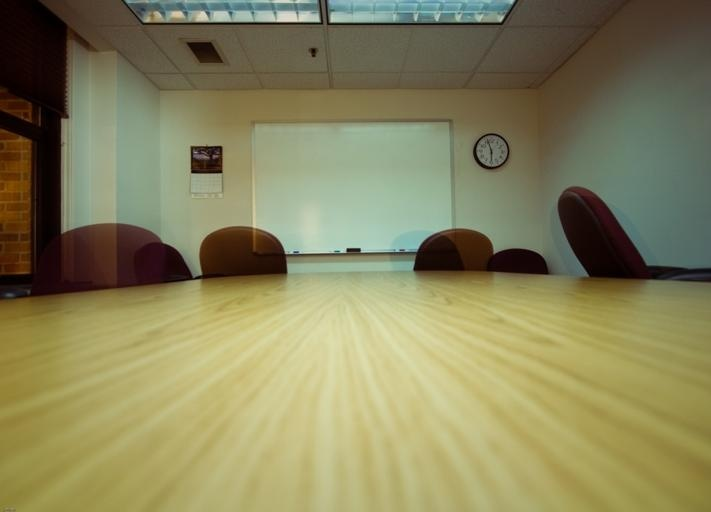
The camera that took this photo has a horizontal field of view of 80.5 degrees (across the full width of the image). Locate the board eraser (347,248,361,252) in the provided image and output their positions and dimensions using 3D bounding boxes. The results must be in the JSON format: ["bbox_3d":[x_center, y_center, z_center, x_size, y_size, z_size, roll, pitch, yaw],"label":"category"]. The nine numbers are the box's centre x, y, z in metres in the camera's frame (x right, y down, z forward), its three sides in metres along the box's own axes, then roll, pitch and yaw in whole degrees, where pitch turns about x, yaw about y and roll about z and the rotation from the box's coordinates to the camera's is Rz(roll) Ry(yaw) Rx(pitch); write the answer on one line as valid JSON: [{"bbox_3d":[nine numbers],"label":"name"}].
[{"bbox_3d":[-0.015,-0.048,3.623,0.120,0.049,0.025,0,-1,-3],"label":"board eraser"}]

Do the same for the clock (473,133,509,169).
[{"bbox_3d":[1.167,-0.898,3.612,0.276,0.292,0.065,-36,4,-2],"label":"clock"}]
